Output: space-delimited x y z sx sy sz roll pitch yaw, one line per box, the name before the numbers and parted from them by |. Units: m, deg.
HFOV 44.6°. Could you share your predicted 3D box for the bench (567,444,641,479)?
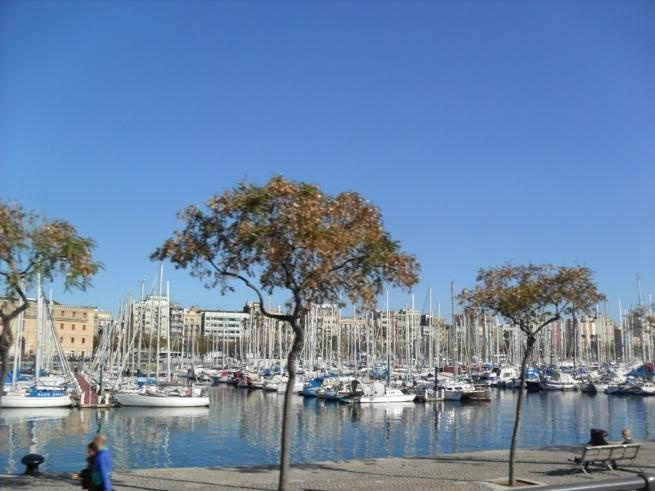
bench | 13.297 10.000 37.976 2.578 0.965 0.877 -1 -9 -8
